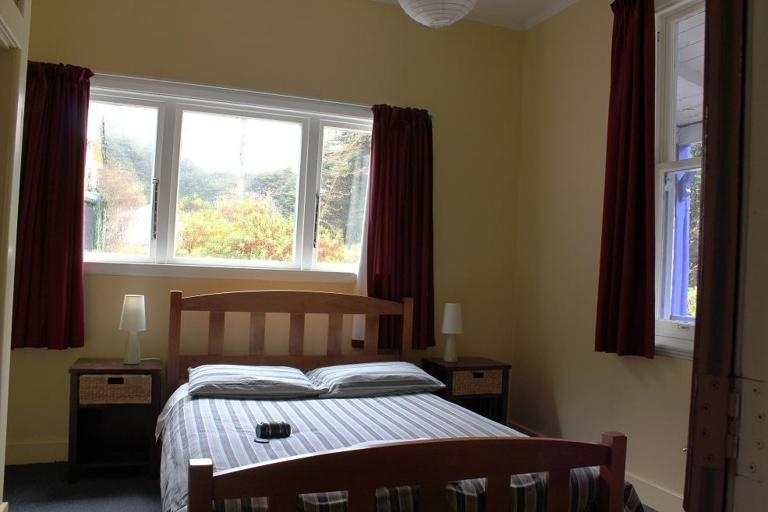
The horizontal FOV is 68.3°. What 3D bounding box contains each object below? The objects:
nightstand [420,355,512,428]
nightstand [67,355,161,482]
[{"bbox_3d":[0.640,1.026,4.074,0.440,0.571,0.381,0,3,-7],"label":"nightstand"},{"bbox_3d":[-1.676,0.902,3.514,0.497,0.698,0.429,4,15,-22],"label":"nightstand"}]
